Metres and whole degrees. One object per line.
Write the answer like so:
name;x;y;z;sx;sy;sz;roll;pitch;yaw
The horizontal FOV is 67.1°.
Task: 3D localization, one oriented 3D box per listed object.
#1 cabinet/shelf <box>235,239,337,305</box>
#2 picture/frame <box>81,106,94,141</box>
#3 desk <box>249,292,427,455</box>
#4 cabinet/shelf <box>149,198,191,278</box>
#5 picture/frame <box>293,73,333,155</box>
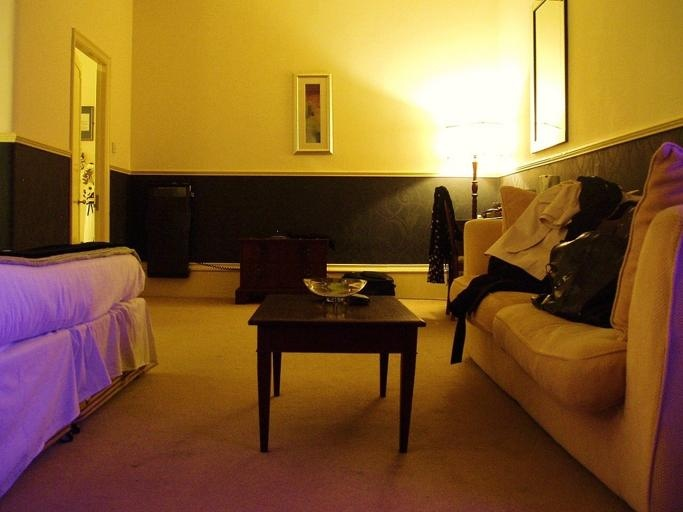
cabinet/shelf;-0.573;0.185;5.153;0.810;0.628;0.555;1;3;-1
picture/frame;-2.854;-1.503;5.793;0.146;0.409;0.518;-5;13;-26
desk;-0.035;0.426;2.393;0.670;0.514;0.685;1;3;0
cabinet/shelf;-1.774;-0.224;5.290;0.417;0.833;0.146;1;12;2
picture/frame;-0.297;-1.510;5.444;0.403;0.820;0.167;-1;12;-5
